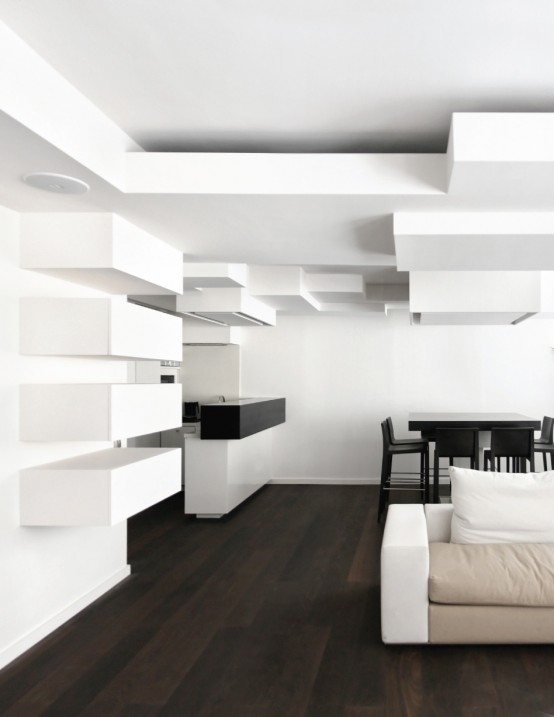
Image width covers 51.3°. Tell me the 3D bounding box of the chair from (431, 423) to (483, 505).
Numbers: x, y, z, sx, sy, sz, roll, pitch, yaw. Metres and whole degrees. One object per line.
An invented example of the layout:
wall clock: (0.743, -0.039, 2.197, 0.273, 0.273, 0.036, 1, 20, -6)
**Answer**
chair: (1.719, 0.851, 5.572, 0.426, 0.920, 0.533, -4, 31, 11)

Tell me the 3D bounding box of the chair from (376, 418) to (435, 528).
chair: (1.341, 1.130, 6.148, 0.545, 1.027, 0.635, -2, 6, -6)
